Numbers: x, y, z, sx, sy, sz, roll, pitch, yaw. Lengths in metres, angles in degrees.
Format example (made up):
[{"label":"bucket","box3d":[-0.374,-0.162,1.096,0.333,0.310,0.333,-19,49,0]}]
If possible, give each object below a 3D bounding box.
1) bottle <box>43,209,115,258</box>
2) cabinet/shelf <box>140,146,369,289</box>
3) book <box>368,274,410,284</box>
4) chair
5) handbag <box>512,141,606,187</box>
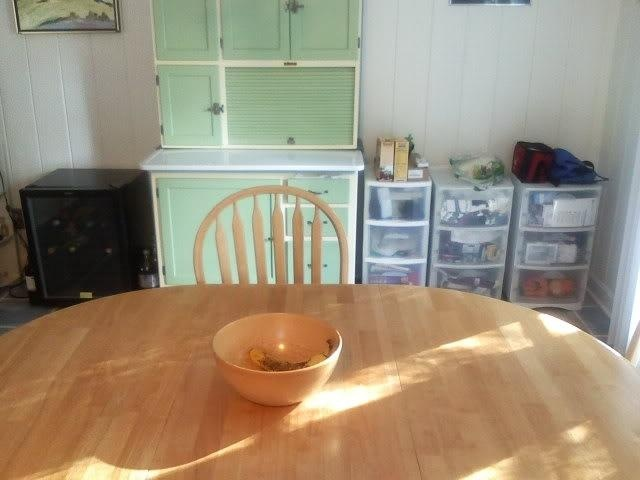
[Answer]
[{"label":"bottle","box3d":[-1.488,-0.046,2.915,0.440,0.323,0.029,0,22,2]},{"label":"cabinet/shelf","box3d":[-0.326,-0.130,2.483,0.810,0.797,0.298,0,17,1]},{"label":"book","box3d":[0.435,0.248,2.937,0.177,0.044,0.103,1,1,3]},{"label":"chair","box3d":[-0.223,-0.052,2.228,0.396,0.547,0.373,-2,38,-3]},{"label":"handbag","box3d":[1.438,-0.452,2.883,0.415,0.199,0.305,-1,11,-1]}]
